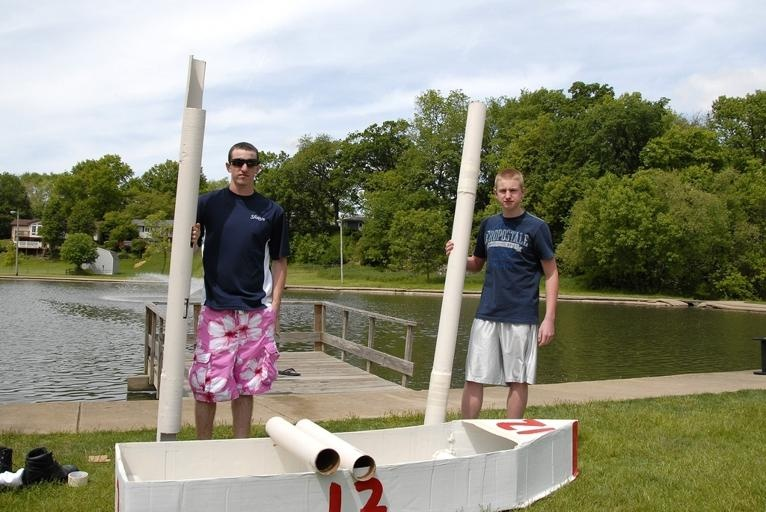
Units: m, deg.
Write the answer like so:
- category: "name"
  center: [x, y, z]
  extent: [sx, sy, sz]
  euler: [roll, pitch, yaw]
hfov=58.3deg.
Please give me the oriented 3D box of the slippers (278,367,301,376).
- category: "slippers"
  center: [-1.577, 1.958, 11.445]
  extent: [0.440, 0.123, 0.175]
  euler: [-4, -3, 44]

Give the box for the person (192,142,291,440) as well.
- category: "person"
  center: [-1.237, 0.316, 5.965]
  extent: [0.832, 2.584, 0.412]
  euler: [1, -1, -16]

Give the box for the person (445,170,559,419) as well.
- category: "person"
  center: [1.200, 0.495, 6.570]
  extent: [0.886, 2.108, 0.449]
  euler: [0, -1, 14]
